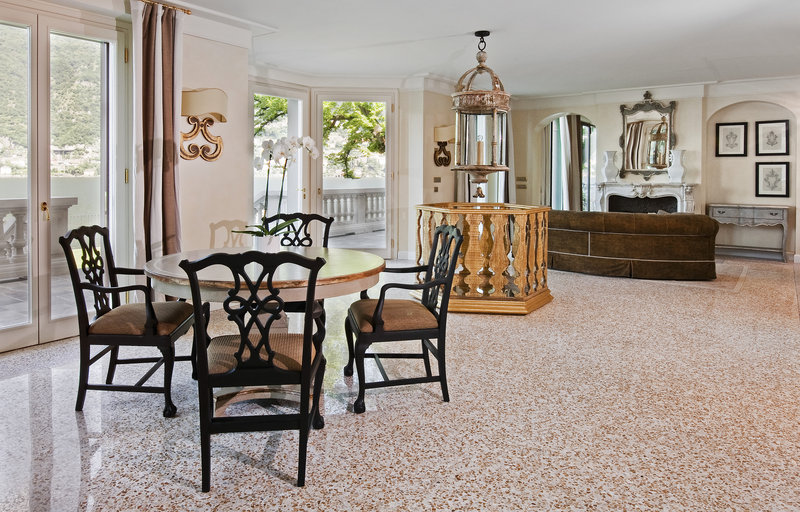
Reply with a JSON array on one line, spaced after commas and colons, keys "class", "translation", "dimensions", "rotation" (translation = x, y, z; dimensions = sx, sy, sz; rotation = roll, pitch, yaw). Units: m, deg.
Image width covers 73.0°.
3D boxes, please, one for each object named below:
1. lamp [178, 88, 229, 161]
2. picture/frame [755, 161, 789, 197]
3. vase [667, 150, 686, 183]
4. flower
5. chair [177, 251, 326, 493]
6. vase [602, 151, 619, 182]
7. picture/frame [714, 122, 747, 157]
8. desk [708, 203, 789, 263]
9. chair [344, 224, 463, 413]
[{"class": "lamp", "translation": [-2.090, -1.388, 5.722], "dimensions": [0.616, 0.723, 0.453], "rotation": [10, 10, 24]}, {"class": "picture/frame", "translation": [6.316, -1.311, 9.232], "dimensions": [0.512, 0.592, 0.119], "rotation": [7, 14, 29]}, {"class": "vase", "translation": [4.888, -1.604, 9.595], "dimensions": [0.242, 0.570, 0.243], "rotation": [-7, 14, -31]}, {"class": "flower", "translation": [-1.325, -0.699, 5.837], "dimensions": [0.770, 1.054, 0.737], "rotation": [11, -5, -8]}, {"class": "chair", "translation": [-0.927, 0.607, 3.573], "dimensions": [0.853, 1.403, 1.079], "rotation": [-1, 12, -9]}, {"class": "vase", "translation": [3.961, -1.713, 10.261], "dimensions": [0.355, 0.558, 0.173], "rotation": [6, 13, 23]}, {"class": "picture/frame", "translation": [5.800, -2.085, 9.512], "dimensions": [0.629, 0.783, 0.083], "rotation": [6, 10, 41]}, {"class": "desk", "translation": [5.978, -0.459, 9.328], "dimensions": [1.244, 0.886, 0.546], "rotation": [9, 14, 35]}, {"class": "chair", "translation": [-0.049, 0.420, 4.294], "dimensions": [0.997, 1.223, 0.972], "rotation": [-4, 9, -27]}]
